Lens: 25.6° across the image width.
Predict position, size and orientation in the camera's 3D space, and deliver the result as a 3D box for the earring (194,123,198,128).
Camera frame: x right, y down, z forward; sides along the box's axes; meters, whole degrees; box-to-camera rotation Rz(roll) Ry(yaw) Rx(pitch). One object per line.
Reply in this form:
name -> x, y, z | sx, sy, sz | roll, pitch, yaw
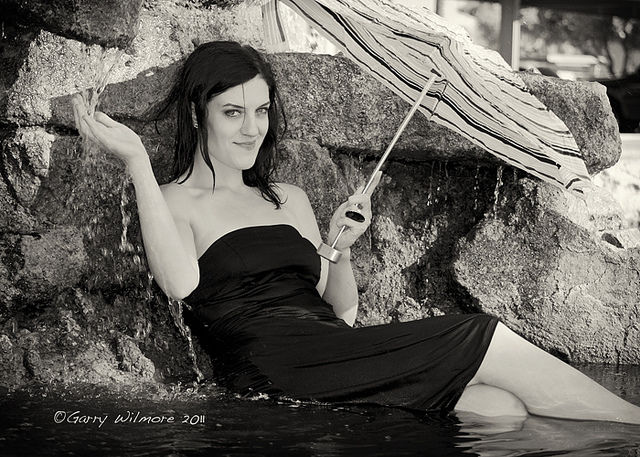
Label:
earring -> -0.832, -0.690, 9.459 | 0.030, 0.029, 0.010 | 4, 3, 40
